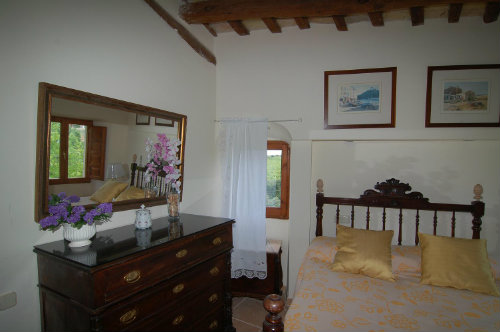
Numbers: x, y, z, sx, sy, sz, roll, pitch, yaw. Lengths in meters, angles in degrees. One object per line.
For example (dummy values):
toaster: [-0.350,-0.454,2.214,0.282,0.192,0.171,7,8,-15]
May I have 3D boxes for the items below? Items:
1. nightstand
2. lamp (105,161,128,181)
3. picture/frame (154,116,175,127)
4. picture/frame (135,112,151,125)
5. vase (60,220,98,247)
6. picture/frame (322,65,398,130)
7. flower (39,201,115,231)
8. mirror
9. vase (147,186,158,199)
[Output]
nightstand: [0.203,1.351,4.540,0.853,0.770,0.615,1,5,16]
lamp: [-1.306,0.052,3.209,0.173,0.166,0.152,-4,10,-16]
picture/frame: [-0.952,-0.485,3.641,0.037,0.085,0.169,8,4,40]
picture/frame: [-1.126,-0.494,3.408,0.015,0.123,0.147,1,5,35]
vase: [-1.479,0.567,2.838,0.270,0.210,0.279,8,8,41]
picture/frame: [1.385,-0.847,3.989,0.847,0.692,0.059,1,2,9]
flower: [-1.469,0.386,2.756,0.433,0.168,0.283,0,4,10]
mirror: [-1.278,-0.089,3.418,0.053,1.155,1.682,5,2,32]
vase: [-1.040,0.295,3.515,0.111,0.114,0.104,2,3,-2]
